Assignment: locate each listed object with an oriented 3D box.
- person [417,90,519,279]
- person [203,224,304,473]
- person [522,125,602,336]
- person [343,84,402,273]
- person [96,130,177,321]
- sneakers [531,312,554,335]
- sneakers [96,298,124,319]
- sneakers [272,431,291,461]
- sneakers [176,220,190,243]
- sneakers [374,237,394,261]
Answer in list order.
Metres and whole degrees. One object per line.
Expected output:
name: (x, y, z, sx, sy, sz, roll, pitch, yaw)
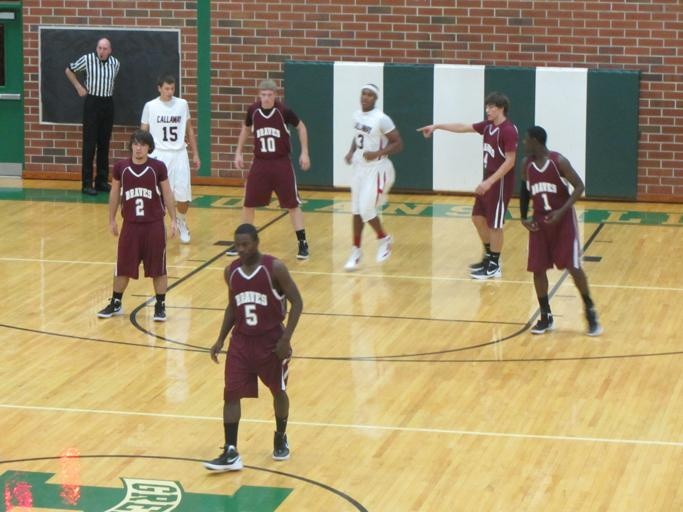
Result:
person: (1.689, -0.819, 8.981, 0.747, 2.152, 1.141, 1, 9, -1)
person: (-0.562, 0.591, 4.966, 0.603, 1.627, 0.323, 0, 9, -4)
person: (2.049, -0.227, 7.191, 0.790, 1.949, 0.668, 4, 9, 16)
person: (0.373, -0.948, 9.251, 0.637, 2.214, 0.600, 1, 9, 0)
person: (-1.984, -0.297, 7.537, 0.659, 1.873, 0.455, 4, 10, 20)
sneakers: (1.929, 0.643, 7.340, 0.301, 0.227, 0.118, -9, 12, -26)
sneakers: (-2.307, 0.524, 7.741, 0.296, 0.228, 0.126, 0, 2, -1)
sneakers: (-0.403, 1.280, 5.134, 0.074, 0.104, 0.217, -1, 6, -1)
sneakers: (-2.089, -0.325, 10.137, 0.086, 0.284, 0.107, -18, -5, -16)
sneakers: (0.524, -0.102, 9.423, 0.123, 0.153, 0.365, -8, 41, 34)
